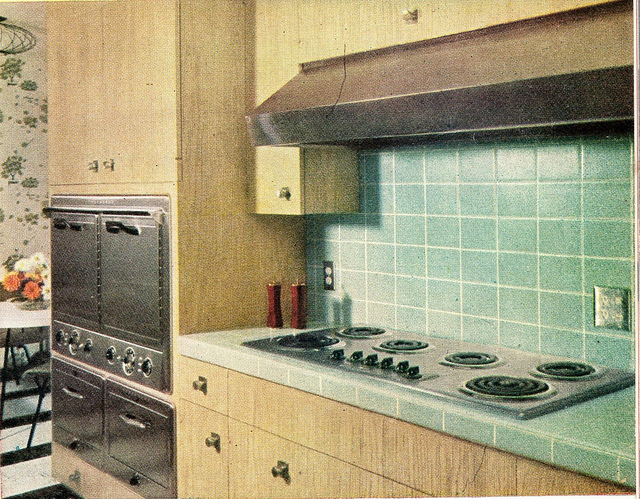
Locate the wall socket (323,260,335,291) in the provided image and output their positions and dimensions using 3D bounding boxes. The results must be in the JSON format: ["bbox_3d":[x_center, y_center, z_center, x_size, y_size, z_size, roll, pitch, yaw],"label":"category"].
[{"bbox_3d":[0.041,0.125,3.166,0.035,0.140,0.080,-15,15,-37],"label":"wall socket"}]

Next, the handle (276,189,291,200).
[{"bbox_3d":[-0.161,-0.232,2.827,0.023,0.032,0.061,-1,9,-36],"label":"handle"}]

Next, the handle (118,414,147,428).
[{"bbox_3d":[-0.871,0.790,3.056,0.169,0.035,0.046,14,31,41],"label":"handle"}]

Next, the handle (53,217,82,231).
[{"bbox_3d":[-1.286,-0.127,3.360,0.152,0.030,0.080,10,4,31],"label":"handle"}]

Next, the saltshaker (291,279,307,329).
[{"bbox_3d":[-0.099,0.259,3.000,0.085,0.219,0.063,-9,13,-16],"label":"saltshaker"}]

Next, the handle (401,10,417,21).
[{"bbox_3d":[0.319,-0.852,2.384,0.061,0.043,0.032,-13,19,-19],"label":"handle"}]

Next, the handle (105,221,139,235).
[{"bbox_3d":[-0.904,-0.100,3.029,0.233,0.054,0.036,9,21,32],"label":"handle"}]

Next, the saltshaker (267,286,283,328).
[{"bbox_3d":[-0.209,0.261,2.997,0.075,0.193,0.050,-6,12,-4],"label":"saltshaker"}]
